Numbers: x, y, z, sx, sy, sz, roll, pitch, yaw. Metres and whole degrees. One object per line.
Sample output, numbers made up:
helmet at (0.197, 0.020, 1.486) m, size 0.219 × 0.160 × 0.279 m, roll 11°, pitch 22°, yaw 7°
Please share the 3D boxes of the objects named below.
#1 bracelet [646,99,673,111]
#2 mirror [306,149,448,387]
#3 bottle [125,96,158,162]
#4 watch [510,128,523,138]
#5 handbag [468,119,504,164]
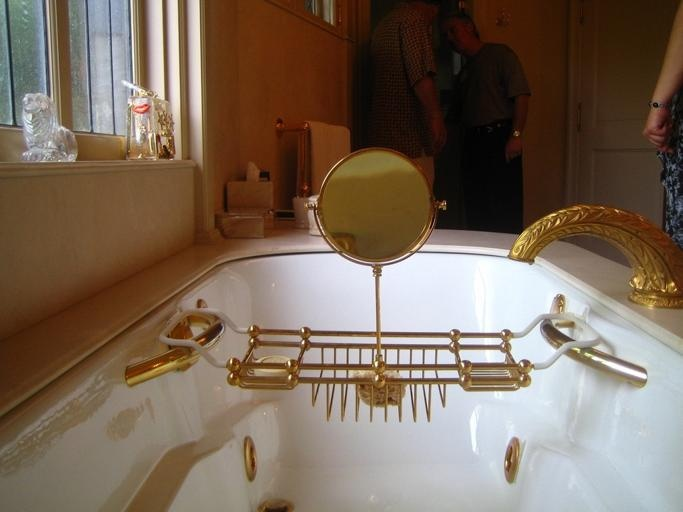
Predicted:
bracelet at (0.853, -0.399, 1.448) m, size 0.038 × 0.046 × 0.021 m, roll 3°, pitch -88°, yaw 8°
mirror at (0.062, 0.028, 0.928) m, size 0.227 × 0.029 × 0.481 m, roll -2°, pitch -54°, yaw 4°
bottle at (-0.556, -0.351, 1.470) m, size 0.095 × 0.043 × 0.166 m, roll 0°, pitch -76°, yaw 3°
watch at (0.939, -0.659, 2.884) m, size 0.032 × 0.036 × 0.042 m, roll -17°, pitch -24°, yaw 18°
handbag at (0.813, -0.594, 3.002) m, size 0.247 × 0.152 × 0.218 m, roll 6°, pitch -82°, yaw 33°
